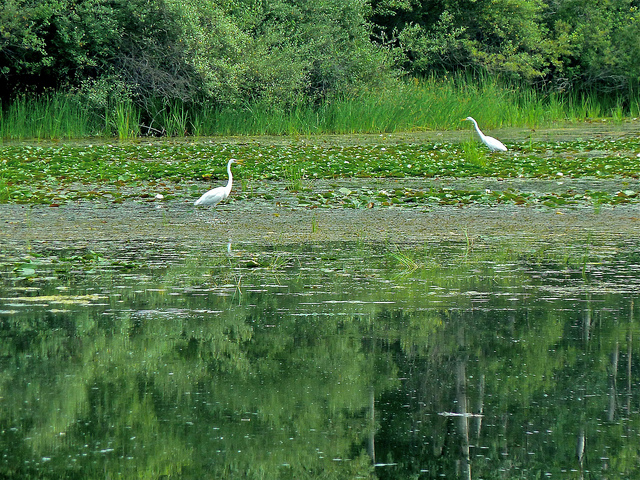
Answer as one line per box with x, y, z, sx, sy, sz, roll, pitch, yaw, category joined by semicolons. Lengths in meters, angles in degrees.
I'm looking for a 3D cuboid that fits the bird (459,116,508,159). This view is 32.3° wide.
3.449;-2.138;22.903;1.007;0.775;0.342;-1;12;-11;bird
